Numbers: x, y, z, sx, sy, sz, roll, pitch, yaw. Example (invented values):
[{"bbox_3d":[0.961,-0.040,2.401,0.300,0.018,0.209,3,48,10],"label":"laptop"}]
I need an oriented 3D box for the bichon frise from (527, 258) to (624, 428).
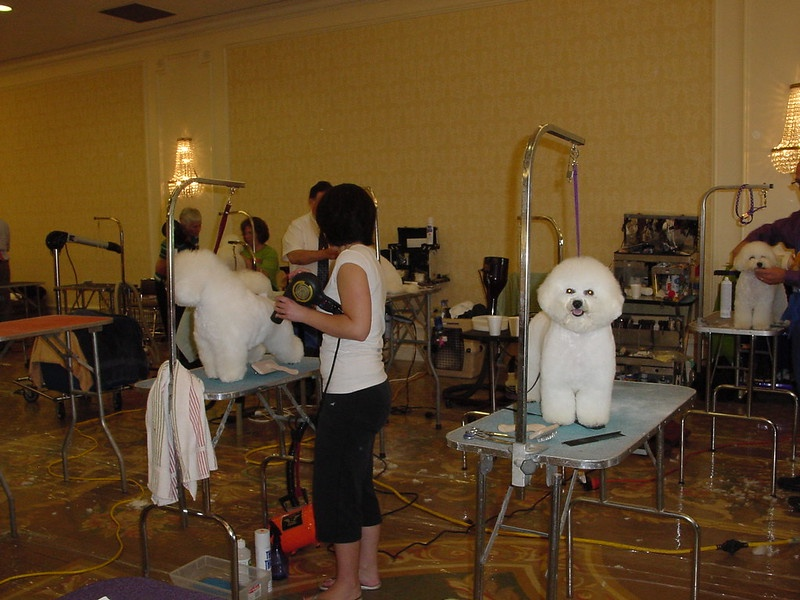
[{"bbox_3d":[0.804,0.177,3.283,0.447,0.666,0.726,5,3,20],"label":"bichon frise"}]

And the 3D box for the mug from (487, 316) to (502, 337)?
[{"bbox_3d":[0.623,0.165,4.918,0.089,0.135,0.132,1,4,6],"label":"mug"}]

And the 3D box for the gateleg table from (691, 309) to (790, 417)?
[{"bbox_3d":[2.681,0.500,5.830,0.566,0.405,0.962,-2,-8,28],"label":"gateleg table"}]

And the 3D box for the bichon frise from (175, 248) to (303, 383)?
[{"bbox_3d":[-0.943,0.077,4.138,0.505,0.696,0.908,9,8,29],"label":"bichon frise"}]

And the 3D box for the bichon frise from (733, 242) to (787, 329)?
[{"bbox_3d":[2.374,-0.079,4.977,0.357,0.615,0.357,3,8,22],"label":"bichon frise"}]

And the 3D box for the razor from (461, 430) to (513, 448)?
[{"bbox_3d":[0.348,0.555,2.982,0.193,0.016,0.061,2,12,31],"label":"razor"}]
